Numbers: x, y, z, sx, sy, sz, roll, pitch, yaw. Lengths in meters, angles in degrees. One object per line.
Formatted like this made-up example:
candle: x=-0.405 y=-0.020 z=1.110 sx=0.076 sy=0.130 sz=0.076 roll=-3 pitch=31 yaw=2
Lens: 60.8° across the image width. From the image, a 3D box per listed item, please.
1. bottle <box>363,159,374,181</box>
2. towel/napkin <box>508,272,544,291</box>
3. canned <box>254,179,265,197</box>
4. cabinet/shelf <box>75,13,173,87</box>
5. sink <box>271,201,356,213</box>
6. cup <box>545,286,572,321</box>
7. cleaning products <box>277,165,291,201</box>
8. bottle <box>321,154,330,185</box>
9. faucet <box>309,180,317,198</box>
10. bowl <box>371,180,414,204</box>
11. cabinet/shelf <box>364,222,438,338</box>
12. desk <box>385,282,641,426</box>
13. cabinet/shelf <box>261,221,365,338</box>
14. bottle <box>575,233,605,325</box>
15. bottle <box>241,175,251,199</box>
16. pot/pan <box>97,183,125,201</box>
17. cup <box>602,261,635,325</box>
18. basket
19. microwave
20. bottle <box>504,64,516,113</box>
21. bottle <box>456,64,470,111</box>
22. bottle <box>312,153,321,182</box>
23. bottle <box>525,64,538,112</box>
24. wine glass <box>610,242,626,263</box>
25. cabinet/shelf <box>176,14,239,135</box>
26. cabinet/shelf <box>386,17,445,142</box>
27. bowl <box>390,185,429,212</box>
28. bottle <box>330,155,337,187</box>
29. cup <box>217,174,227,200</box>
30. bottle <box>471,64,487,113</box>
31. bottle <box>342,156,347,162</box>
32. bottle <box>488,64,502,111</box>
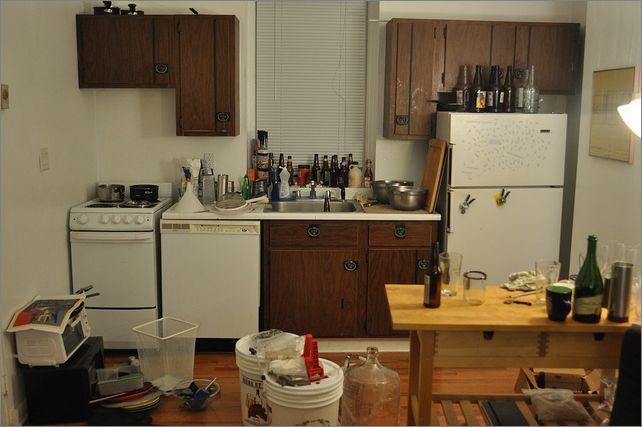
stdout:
bottle: x=0.482 y=-0.433 z=5.428 sx=0.093 sy=0.220 sz=0.142 roll=-1 pitch=7 yaw=5
towel/napkin: x=1.289 y=0.434 z=3.493 sx=0.138 sy=0.045 sz=0.136 roll=-7 pitch=8 yaw=-12
canned: x=-0.583 y=-0.243 z=5.181 sx=0.112 sy=0.149 sz=0.073 roll=-2 pitch=7 yaw=-3
cabinet/shelf: x=-1.718 y=-1.477 z=5.071 sx=0.925 sy=0.647 sz=0.489 roll=2 pitch=7 yaw=5
sink: x=-0.059 y=-0.063 z=5.117 sx=0.801 sy=0.112 sz=0.406 roll=-2 pitch=7 yaw=-12
cup: x=1.373 y=0.517 z=3.139 sx=0.133 sy=0.195 sz=0.104 roll=1 pitch=7 yaw=16
cleaning products: x=-0.352 y=-0.290 z=5.296 sx=0.111 sy=0.296 sz=0.208 roll=-2 pitch=7 yaw=-4
bottle: x=0.048 y=-0.437 z=5.471 sx=0.091 sy=0.296 sz=0.152 roll=-1 pitch=7 yaw=0
faucet: x=-0.072 y=-0.233 z=5.357 sx=0.063 sy=0.162 sz=0.091 roll=-2 pitch=7 yaw=-3
bowl: x=0.631 y=-0.190 z=5.210 sx=0.260 sy=0.154 sz=0.279 roll=1 pitch=1 yaw=0
cabinet/shelf: x=0.692 y=0.491 z=5.179 sx=0.687 sy=1.193 sz=0.605 roll=3 pitch=21 yaw=3
desk: x=1.109 y=0.719 z=3.171 sx=1.540 sy=0.982 sz=0.773 roll=0 pitch=5 yaw=0
cabinet/shelf: x=-0.112 y=0.594 z=5.172 sx=1.004 sy=1.064 sz=0.772 roll=1 pitch=-4 yaw=-7
bottle: x=1.565 y=0.372 z=3.122 sx=0.222 sy=0.495 sz=0.106 roll=-5 pitch=8 yaw=-26
bottle: x=-0.711 y=-0.253 z=5.192 sx=0.080 sy=0.215 sz=0.072 roll=-2 pitch=7 yaw=-9
pot/pan: x=-1.912 y=-0.194 z=4.967 sx=0.205 sy=0.122 sz=0.152 roll=1 pitch=6 yaw=-6
cup: x=1.719 y=0.450 z=3.120 sx=0.102 sy=0.333 sz=0.109 roll=-1 pitch=7 yaw=0
basket: x=-1.204 y=1.120 z=4.214 sx=0.436 sy=0.542 sz=0.463 roll=10 pitch=14 yaw=32
microwave: x=-1.958 y=0.894 z=3.981 sx=0.365 sy=0.340 sz=0.538 roll=0 pitch=5 yaw=-4
bottle: x=1.724 y=-1.138 z=4.958 sx=0.103 sy=0.418 sz=0.134 roll=1 pitch=7 yaw=19
bottle: x=1.303 y=-1.148 z=4.967 sx=0.122 sy=0.410 sz=0.113 roll=-1 pitch=7 yaw=0
bottle: x=-0.048 y=-0.446 z=5.464 sx=0.093 sy=0.278 sz=0.147 roll=0 pitch=7 yaw=7
bottle: x=1.908 y=-1.118 z=4.914 sx=0.117 sy=0.424 sz=0.234 roll=2 pitch=8 yaw=26
wine glass: x=1.873 y=0.242 z=3.430 sx=0.086 sy=0.125 sz=0.232 roll=3 pitch=8 yaw=30
cabinet/shelf: x=-1.171 y=-1.267 z=5.021 sx=0.606 sy=1.082 sz=0.450 roll=-11 pitch=20 yaw=-42
cabinet/shelf: x=0.988 y=-1.260 z=5.131 sx=0.597 sy=1.102 sz=0.433 roll=11 pitch=16 yaw=41
bowl: x=0.791 y=-0.136 z=4.933 sx=0.245 sy=0.142 sz=0.279 roll=2 pitch=3 yaw=-5
bottle: x=0.135 y=-0.423 z=5.420 sx=0.079 sy=0.302 sz=0.118 roll=-1 pitch=7 yaw=1
cup: x=-0.935 y=-0.262 z=5.183 sx=0.110 sy=0.226 sz=0.171 roll=-3 pitch=7 yaw=-11
bottle: x=1.457 y=-1.135 z=4.949 sx=0.178 sy=0.416 sz=0.118 roll=-7 pitch=9 yaw=-40
bottle: x=0.241 y=-0.550 z=5.512 sx=0.043 sy=0.077 sz=0.043 roll=3 pitch=3 yaw=0
bottle: x=1.569 y=-1.123 z=4.912 sx=0.123 sy=0.420 sz=0.141 roll=2 pitch=8 yaw=28
